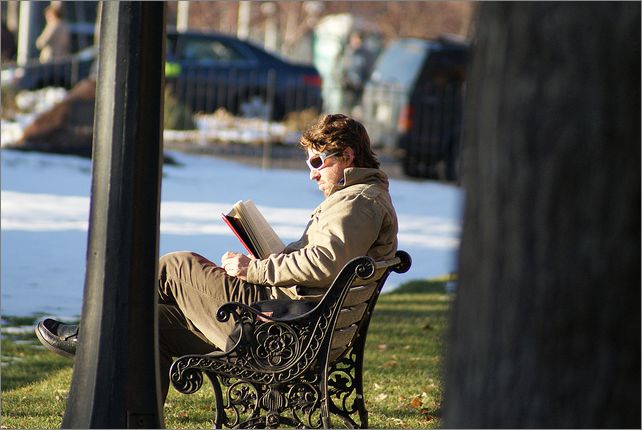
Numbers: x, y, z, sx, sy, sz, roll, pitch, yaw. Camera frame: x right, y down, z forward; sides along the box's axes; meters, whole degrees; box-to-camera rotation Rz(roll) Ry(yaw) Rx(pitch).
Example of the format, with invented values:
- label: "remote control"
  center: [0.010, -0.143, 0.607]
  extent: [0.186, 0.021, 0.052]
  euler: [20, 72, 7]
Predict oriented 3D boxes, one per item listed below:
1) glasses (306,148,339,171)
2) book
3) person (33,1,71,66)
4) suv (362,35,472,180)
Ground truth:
- label: "glasses"
  center: [0.041, -0.669, 20.413]
  extent: [0.238, 0.104, 0.231]
  euler: [-18, -4, -38]
- label: "book"
  center: [-0.762, 0.173, 20.345]
  extent: [0.238, 0.753, 0.571]
  euler: [-29, 11, 25]
- label: "person"
  center: [-4.552, -3.168, 29.490]
  extent: [0.554, 0.978, 1.363]
  euler: [0, 11, -9]
- label: "suv"
  center: [1.547, -1.718, 29.405]
  extent: [1.319, 1.621, 2.590]
  euler: [-2, 9, -4]
